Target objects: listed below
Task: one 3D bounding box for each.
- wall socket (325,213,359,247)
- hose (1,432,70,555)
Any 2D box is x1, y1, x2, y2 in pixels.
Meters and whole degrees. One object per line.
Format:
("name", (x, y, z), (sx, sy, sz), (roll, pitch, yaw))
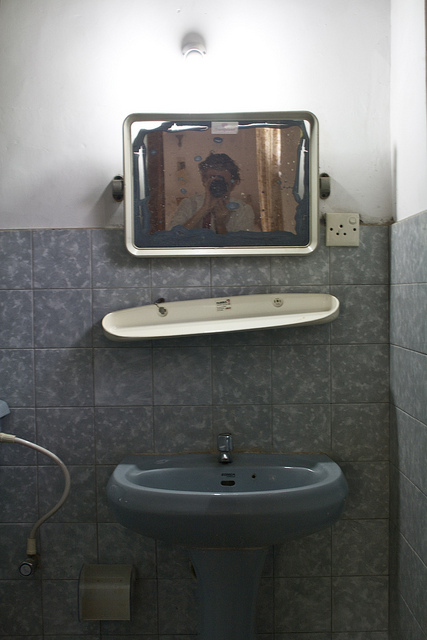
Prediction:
("wall socket", (0.408, -0.286, 1.948), (0.100, 0.041, 0.101), (0, 77, 6))
("hose", (-0.534, 0.497, 1.864), (0.176, 0.149, 0.414), (2, 98, -1))
